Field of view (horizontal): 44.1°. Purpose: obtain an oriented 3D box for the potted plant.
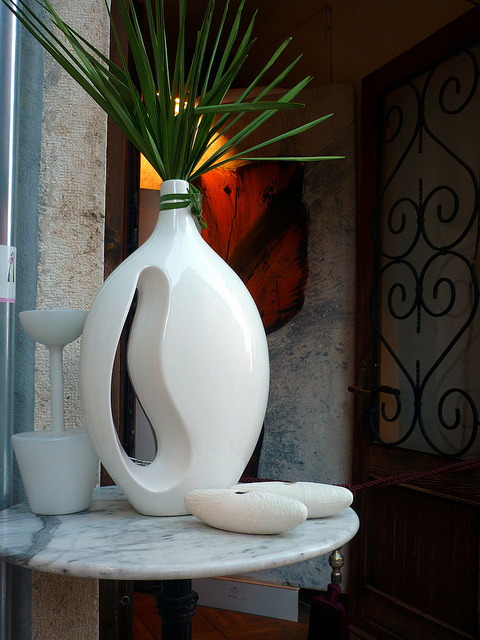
[{"bbox_3d":[-0.091,-0.112,0.673,0.381,0.460,0.365,5,1,10],"label":"potted plant"}]
